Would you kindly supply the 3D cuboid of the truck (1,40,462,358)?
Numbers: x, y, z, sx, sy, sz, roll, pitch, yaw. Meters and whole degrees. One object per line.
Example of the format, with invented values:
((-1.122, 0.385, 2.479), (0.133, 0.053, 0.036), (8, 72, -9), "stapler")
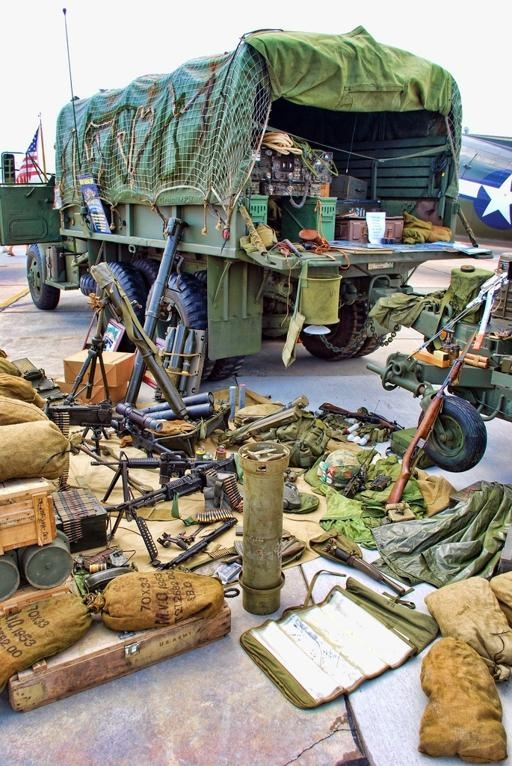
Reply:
((-0.563, -2.970, 8.707), (3.936, 3.591, 6.996), (-10, 24, -33), "truck")

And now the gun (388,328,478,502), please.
((1.617, 0.316, 4.869), (0.142, 1.752, 0.244), (36, -11, -32), "gun")

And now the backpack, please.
((0.345, 0.511, 5.428), (0.702, 0.305, 0.568), (16, 43, 26), "backpack")

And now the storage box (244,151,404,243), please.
((0.658, -2.310, 6.747), (1.682, 1.049, 1.670), (-9, 19, -37), "storage box")

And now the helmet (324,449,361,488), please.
((0.760, 0.723, 4.776), (0.246, 0.269, 0.329), (17, 55, 31), "helmet")

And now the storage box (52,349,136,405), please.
((-1.937, -0.106, 6.704), (0.857, 0.634, 0.607), (10, 18, 30), "storage box")

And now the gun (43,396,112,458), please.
((-1.672, 0.325, 5.181), (0.698, 0.720, 0.500), (3, 17, -18), "gun")

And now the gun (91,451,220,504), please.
((-0.847, 0.786, 4.486), (1.150, 0.493, 0.351), (4, 11, -34), "gun")
